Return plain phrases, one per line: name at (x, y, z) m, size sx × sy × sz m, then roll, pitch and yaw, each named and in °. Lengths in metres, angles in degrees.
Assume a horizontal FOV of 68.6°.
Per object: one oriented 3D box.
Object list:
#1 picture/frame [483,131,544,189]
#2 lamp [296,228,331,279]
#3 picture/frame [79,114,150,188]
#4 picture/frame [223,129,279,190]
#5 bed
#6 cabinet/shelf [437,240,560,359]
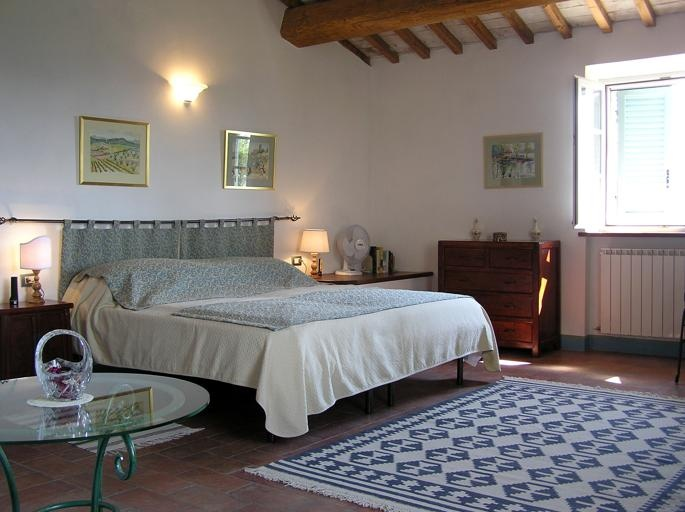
picture/frame at (2.023, -1.123, 5.849) m, size 0.737 × 0.713 × 0.029 m, roll 0°, pitch 2°, yaw 29°
lamp at (-0.323, -0.079, 5.961) m, size 0.363 × 0.508 × 0.355 m, roll 11°, pitch 21°, yaw 25°
picture/frame at (-2.037, -0.926, 4.429) m, size 0.729 × 0.642 × 0.068 m, roll -3°, pitch 6°, yaw -44°
picture/frame at (-0.992, -1.036, 5.432) m, size 0.673 × 0.604 × 0.043 m, roll 7°, pitch 7°, yaw 25°
bed at (-0.481, 0.327, 4.347) m, size 2.858 × 1.226 × 2.963 m, roll 0°, pitch 2°, yaw -43°
cabinet/shelf at (1.788, 0.453, 5.796) m, size 1.227 × 1.179 × 0.645 m, roll 2°, pitch 3°, yaw 41°
